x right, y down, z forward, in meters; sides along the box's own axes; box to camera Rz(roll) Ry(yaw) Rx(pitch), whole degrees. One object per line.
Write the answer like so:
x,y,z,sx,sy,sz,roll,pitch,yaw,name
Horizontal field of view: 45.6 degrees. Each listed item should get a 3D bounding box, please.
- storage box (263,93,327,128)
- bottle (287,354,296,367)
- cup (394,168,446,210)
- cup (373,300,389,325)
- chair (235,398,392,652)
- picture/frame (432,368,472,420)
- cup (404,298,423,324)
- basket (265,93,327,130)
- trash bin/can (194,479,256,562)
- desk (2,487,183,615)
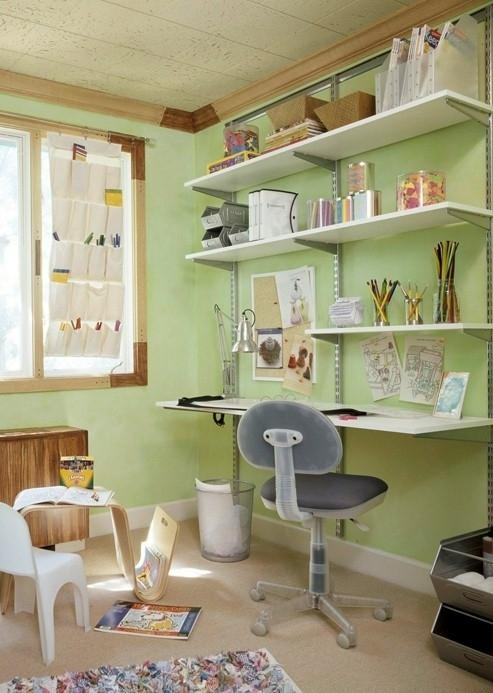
0.193,-1.007,2.586,0.165,0.086,0.216,-1,-4,-43,storage box
0.228,0.079,2.970,0.013,0.069,0.057,1,-4,-25,bottle
0.594,-0.539,2.018,0.161,0.128,0.156,-1,2,0,cup
0.528,-0.127,2.329,0.047,0.101,0.142,-1,-3,11,cup
0.233,0.580,2.060,0.501,0.750,0.522,-1,-5,26,chair
0.724,0.173,2.092,0.117,0.162,0.107,-3,-4,36,picture/frame
0.624,-0.130,2.203,0.052,0.105,0.135,-1,-3,17,cup
0.202,-1.009,2.582,0.165,0.089,0.216,-1,-4,-43,basket
-0.127,0.846,2.903,0.291,0.363,0.291,0,-7,2,trash bin/can
-0.601,0.805,2.337,0.575,0.359,0.305,8,-10,-19,desk
